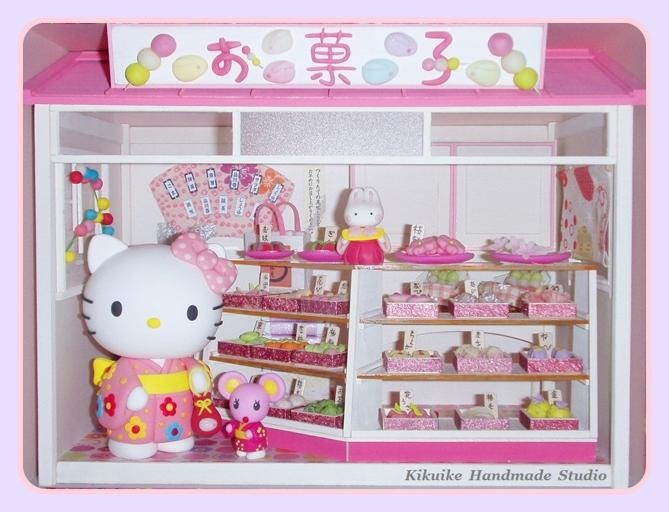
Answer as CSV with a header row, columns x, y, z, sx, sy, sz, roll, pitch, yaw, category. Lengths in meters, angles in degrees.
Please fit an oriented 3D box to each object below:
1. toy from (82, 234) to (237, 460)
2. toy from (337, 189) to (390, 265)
x,y,z,sx,sy,sz,roll,pitch,yaw,category
-1.494,0.739,4.869,1.172,1.883,0.513,0,-2,-14,toy
0.243,-0.260,5.021,0.451,0.681,0.282,0,-2,1,toy
